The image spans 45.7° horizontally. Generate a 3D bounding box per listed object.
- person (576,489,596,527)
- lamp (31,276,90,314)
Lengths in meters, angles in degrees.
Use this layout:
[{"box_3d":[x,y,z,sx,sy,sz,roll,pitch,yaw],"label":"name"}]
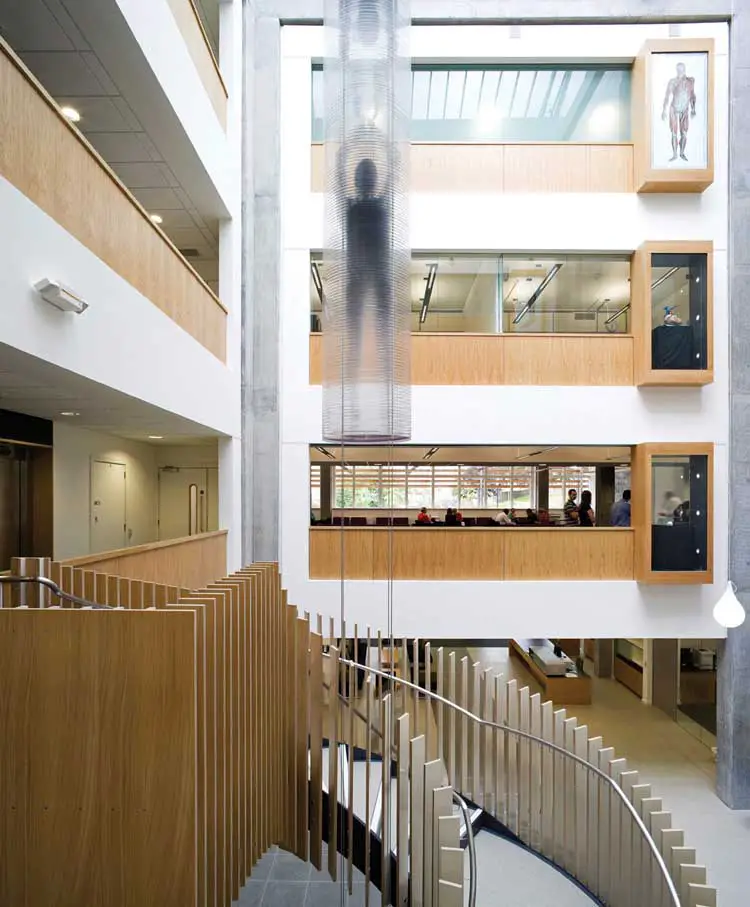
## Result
[{"box_3d":[3.135,0.827,13.254,0.178,0.548,1.298,-3,-7,15],"label":"person"},{"box_3d":[-2.015,-1.000,5.688,0.136,0.120,0.480,-3,-7,10],"label":"lamp"}]
